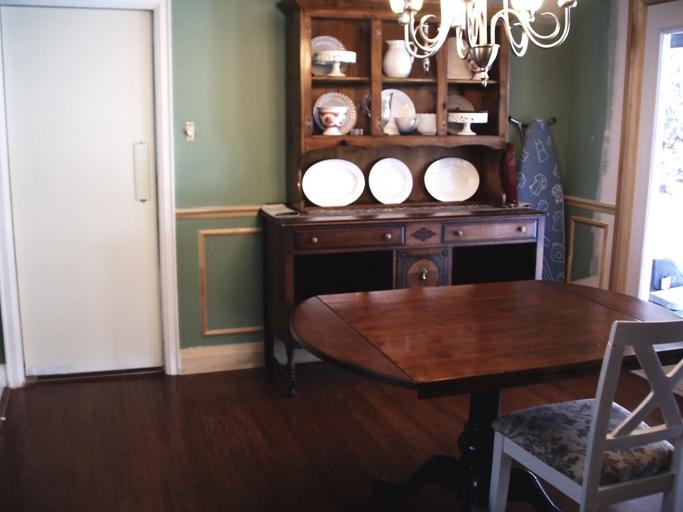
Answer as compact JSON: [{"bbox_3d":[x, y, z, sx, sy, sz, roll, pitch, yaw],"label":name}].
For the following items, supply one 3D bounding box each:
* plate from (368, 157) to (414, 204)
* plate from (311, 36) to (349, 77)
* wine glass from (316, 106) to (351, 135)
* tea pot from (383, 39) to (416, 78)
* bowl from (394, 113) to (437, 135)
[{"bbox_3d":[0.333,-0.535,3.965,0.306,0.329,0.041,-4,6,-20],"label":"plate"},{"bbox_3d":[-0.083,-1.309,3.616,0.222,0.260,0.216,0,15,-1],"label":"plate"},{"bbox_3d":[-0.055,-0.887,3.664,0.186,0.154,0.194,0,6,-5],"label":"wine glass"},{"bbox_3d":[0.359,-1.308,3.725,0.238,0.244,0.196,0,5,-13],"label":"tea pot"},{"bbox_3d":[0.512,-0.891,3.751,0.190,0.096,0.190,-1,8,0],"label":"bowl"}]
